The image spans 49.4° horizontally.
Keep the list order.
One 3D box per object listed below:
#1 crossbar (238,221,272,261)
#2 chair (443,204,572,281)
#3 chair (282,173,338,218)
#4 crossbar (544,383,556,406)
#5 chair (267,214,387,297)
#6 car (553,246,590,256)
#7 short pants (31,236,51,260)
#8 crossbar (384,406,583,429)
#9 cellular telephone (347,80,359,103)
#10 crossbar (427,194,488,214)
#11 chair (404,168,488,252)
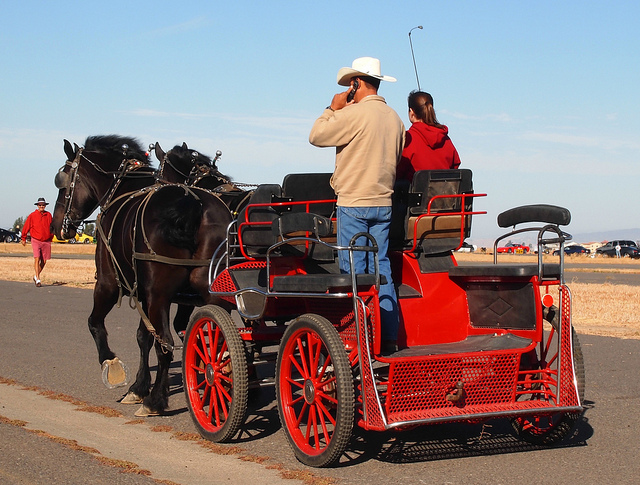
[{"bbox_3d":[-0.601,-0.021,6.575,0.389,0.373,0.034,1,9,13],"label":"crossbar"},{"bbox_3d":[4.139,0.217,15.019,2.217,1.934,2.404,2,-5,-35],"label":"chair"},{"bbox_3d":[-0.087,-0.441,6.681,0.636,0.397,0.328,-4,4,-20],"label":"chair"},{"bbox_3d":[2.029,1.340,6.118,0.028,0.210,0.041,-24,16,9],"label":"crossbar"},{"bbox_3d":[0.056,0.108,6.064,0.946,0.694,1.450,-1,3,-19],"label":"chair"},{"bbox_3d":[20.920,0.781,57.265,2.052,0.679,0.964,3,0,16],"label":"car"},{"bbox_3d":[-8.184,0.177,20.395,0.511,0.702,0.486,-1,3,-23],"label":"short pants"},{"bbox_3d":[1.325,1.388,5.548,1.798,0.058,0.113,0,3,-18],"label":"crossbar"},{"bbox_3d":[0.308,-1.398,6.471,0.050,0.133,0.100,23,22,9],"label":"cellular telephone"},{"bbox_3d":[1.191,-0.352,6.372,0.581,0.128,0.054,0,27,-39],"label":"crossbar"},{"bbox_3d":[1.111,-0.286,6.921,0.973,0.792,1.233,0,7,1],"label":"chair"}]
